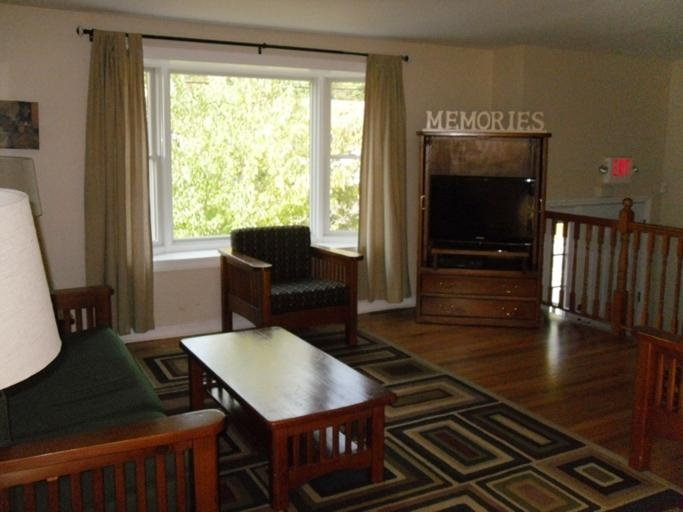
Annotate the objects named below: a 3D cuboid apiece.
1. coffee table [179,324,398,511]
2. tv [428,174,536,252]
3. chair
[{"bbox_3d":[-0.359,0.755,3.293,0.671,0.416,1.149,-5,19,-30],"label":"coffee table"},{"bbox_3d":[1.321,-0.397,5.356,0.713,0.504,0.097,1,4,10],"label":"tv"},{"bbox_3d":[-0.503,0.222,5.114,0.995,0.982,1.134,-2,3,-30],"label":"chair"}]
